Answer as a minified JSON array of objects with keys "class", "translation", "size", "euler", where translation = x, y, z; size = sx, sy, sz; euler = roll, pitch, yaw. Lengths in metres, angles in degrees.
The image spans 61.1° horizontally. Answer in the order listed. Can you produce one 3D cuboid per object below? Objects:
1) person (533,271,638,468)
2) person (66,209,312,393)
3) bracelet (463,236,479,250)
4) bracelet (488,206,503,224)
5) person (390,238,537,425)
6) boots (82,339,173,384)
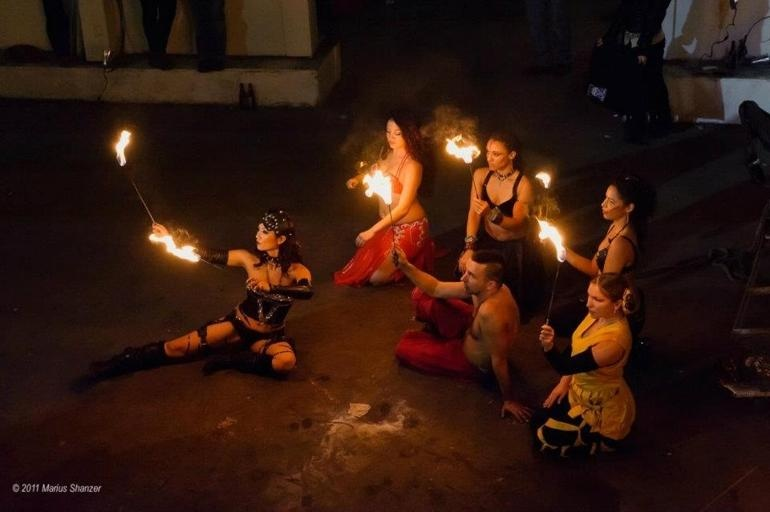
[{"class":"person","translation":[1.957,1.179,6.288],"size":[0.983,2.097,0.911],"euler":[4,30,13]},{"class":"person","translation":[-1.929,0.480,6.588],"size":[2.457,1.508,1.082],"euler":[-5,17,-35]},{"class":"bracelet","translation":[1.062,-0.170,8.027],"size":[0.143,0.068,0.160],"euler":[-6,31,14]},{"class":"bracelet","translation":[1.305,-0.476,7.674],"size":[0.177,0.171,0.067],"euler":[-19,3,-5]},{"class":"person","translation":[0.843,0.675,6.783],"size":[1.510,1.603,0.700],"euler":[13,27,31]},{"class":"boots","translation":[-2.738,1.143,7.079],"size":[0.950,0.335,0.361],"euler":[-16,63,3]}]
